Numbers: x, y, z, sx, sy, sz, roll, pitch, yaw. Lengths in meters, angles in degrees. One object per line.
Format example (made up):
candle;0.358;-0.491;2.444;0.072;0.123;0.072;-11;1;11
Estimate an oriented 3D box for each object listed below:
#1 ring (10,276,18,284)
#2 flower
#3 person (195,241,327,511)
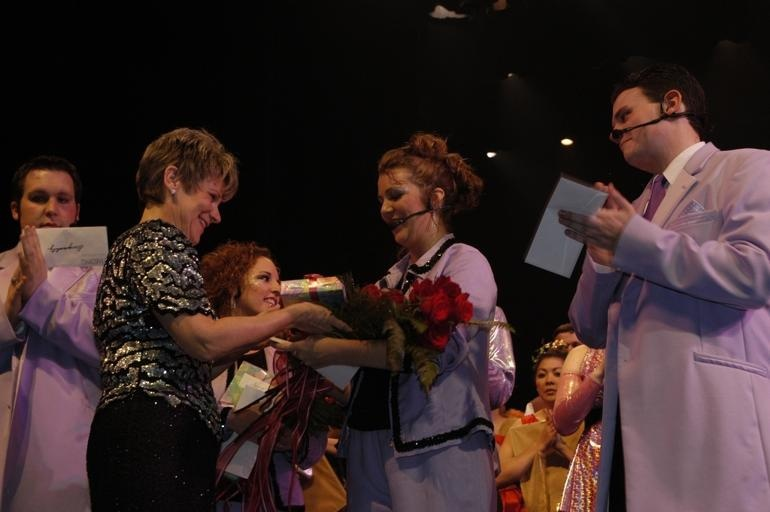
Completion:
ring;-1.918;0.121;3.585;0.032;0.050;0.015;8;5;4
flower;0.192;0.437;3.496;0.867;0.379;0.716;2;-16;-9
person;-0.620;0.634;3.408;0.563;1.405;0.577;-7;-48;-4
